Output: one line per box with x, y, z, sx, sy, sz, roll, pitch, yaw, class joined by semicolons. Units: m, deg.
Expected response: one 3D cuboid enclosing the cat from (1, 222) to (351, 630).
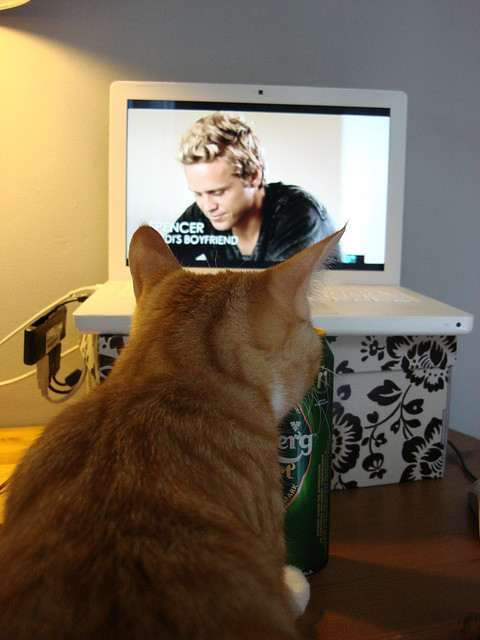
-0.049;0.059;0.396;0.216;0.235;0.249;4;13;9;cat
